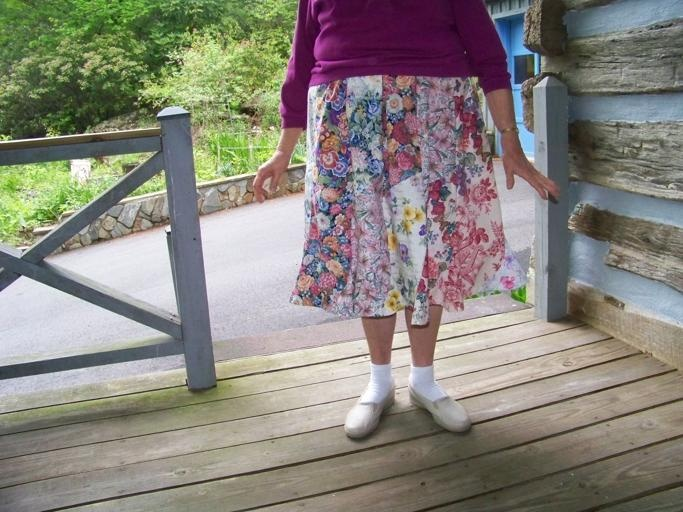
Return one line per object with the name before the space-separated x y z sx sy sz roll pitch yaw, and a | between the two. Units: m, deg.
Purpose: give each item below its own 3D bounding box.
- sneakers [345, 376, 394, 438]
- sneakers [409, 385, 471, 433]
sneakers | 0.104 0.626 2.217 0.104 0.098 0.296 13 38 35
sneakers | 0.364 0.635 2.192 0.102 0.072 0.260 -23 23 -29
